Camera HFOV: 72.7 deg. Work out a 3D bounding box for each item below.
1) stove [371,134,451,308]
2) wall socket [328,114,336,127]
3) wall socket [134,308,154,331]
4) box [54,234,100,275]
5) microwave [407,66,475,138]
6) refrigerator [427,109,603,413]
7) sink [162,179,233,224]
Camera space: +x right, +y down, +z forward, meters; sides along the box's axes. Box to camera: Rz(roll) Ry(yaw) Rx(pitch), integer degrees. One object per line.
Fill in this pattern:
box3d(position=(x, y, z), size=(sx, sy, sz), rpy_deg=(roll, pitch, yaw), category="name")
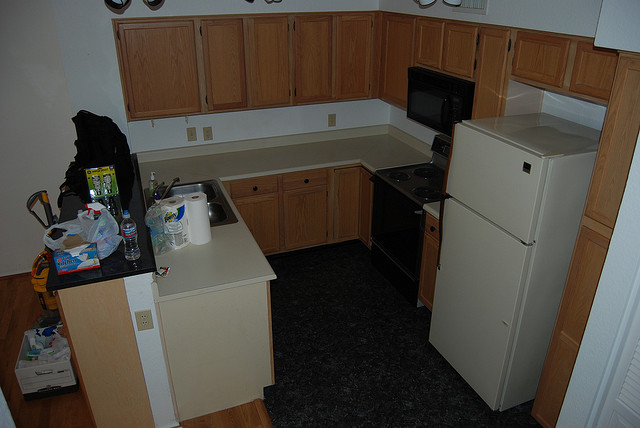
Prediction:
box3d(position=(1.062, 0.041, 4.436), size=(0.948, 1.440, 0.941), rpy_deg=(-15, 29, -28), category="stove")
box3d(position=(0.139, -1.116, 5.188), size=(0.127, 0.177, 0.018), rpy_deg=(-8, 23, -21), category="wall socket")
box3d(position=(-1.225, 0.724, 3.015), size=(0.131, 0.220, 0.028), rpy_deg=(-8, 22, -22), category="wall socket")
box3d(position=(-1.639, 0.270, 2.940), size=(0.256, 0.204, 0.126), rpy_deg=(-9, 24, -14), category="box")
box3d(position=(1.181, -1.037, 4.076), size=(0.389, 0.503, 0.780), rpy_deg=(-9, 29, -23), category="microwave")
box3d(position=(1.382, 0.416, 3.383), size=(0.974, 2.102, 0.748), rpy_deg=(13, 28, 32), category="refrigerator")
box3d(position=(-1.014, -0.145, 3.988), size=(0.383, 0.112, 0.542), rpy_deg=(-11, 33, -21), category="sink")
